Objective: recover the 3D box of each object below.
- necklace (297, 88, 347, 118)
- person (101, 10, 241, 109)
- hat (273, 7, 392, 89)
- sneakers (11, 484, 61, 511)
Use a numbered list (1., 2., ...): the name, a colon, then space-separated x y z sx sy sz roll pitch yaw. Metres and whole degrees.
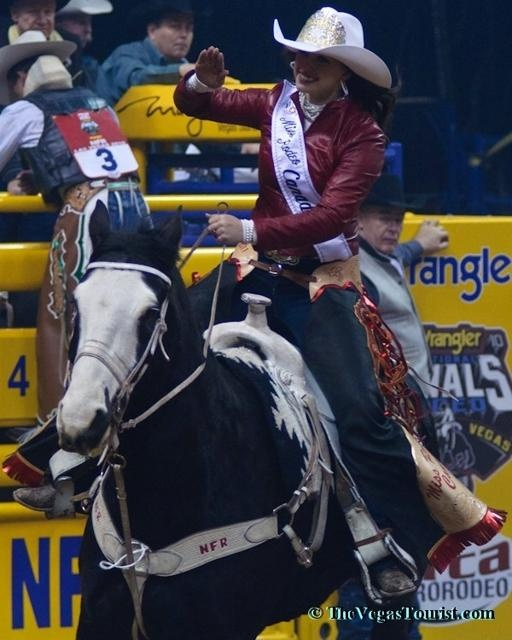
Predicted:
1. necklace: 0.289 -1.003 6.863 0.181 0.153 0.096 0 2 8
2. person: -0.588 -1.660 9.289 0.583 0.373 0.784 -51 -2 -24
3. hat: 0.364 -1.250 6.772 0.525 0.392 0.295 -4 14 3
4. sneakers: -1.065 0.856 7.018 0.299 0.101 0.094 11 9 -12
